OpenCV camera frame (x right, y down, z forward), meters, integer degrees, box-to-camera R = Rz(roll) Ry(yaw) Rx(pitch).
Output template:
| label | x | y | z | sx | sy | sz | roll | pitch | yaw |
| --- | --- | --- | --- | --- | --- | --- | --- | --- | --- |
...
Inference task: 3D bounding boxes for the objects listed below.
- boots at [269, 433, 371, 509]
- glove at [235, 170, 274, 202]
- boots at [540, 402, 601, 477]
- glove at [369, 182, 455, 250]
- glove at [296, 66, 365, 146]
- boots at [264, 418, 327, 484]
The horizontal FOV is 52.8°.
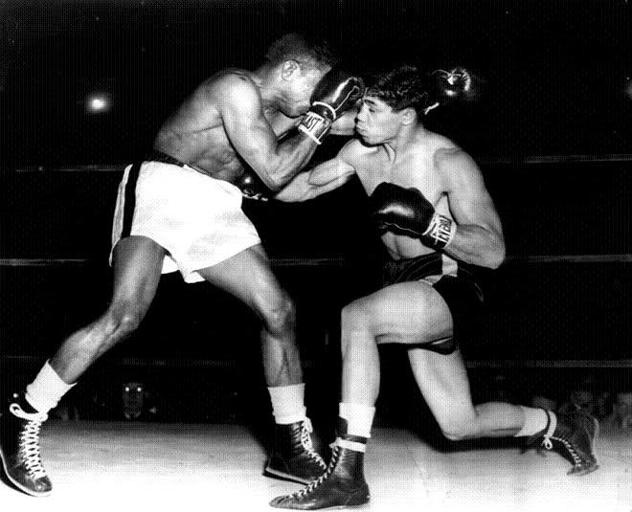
| label | x | y | z | sx | sy | sz | roll | pitch | yaw |
| --- | --- | --- | --- | --- | --- | --- | --- | --- | --- |
| boots | 0.027 | 0.661 | 1.961 | 0.369 | 0.302 | 0.151 | 1 | -11 | 1 |
| glove | -0.243 | -0.258 | 2.489 | 0.118 | 0.061 | 0.089 | 35 | -24 | -8 |
| boots | 0.927 | 0.597 | 2.330 | 0.148 | 0.356 | 0.116 | -9 | -4 | 6 |
| glove | 0.306 | -0.115 | 2.138 | 0.266 | 0.188 | 0.111 | 19 | -25 | -12 |
| glove | 0.046 | -0.509 | 2.195 | 0.181 | 0.306 | 0.117 | 20 | -3 | 9 |
| boots | -0.018 | 0.664 | 2.142 | 0.297 | 0.226 | 0.117 | -1 | -5 | 10 |
